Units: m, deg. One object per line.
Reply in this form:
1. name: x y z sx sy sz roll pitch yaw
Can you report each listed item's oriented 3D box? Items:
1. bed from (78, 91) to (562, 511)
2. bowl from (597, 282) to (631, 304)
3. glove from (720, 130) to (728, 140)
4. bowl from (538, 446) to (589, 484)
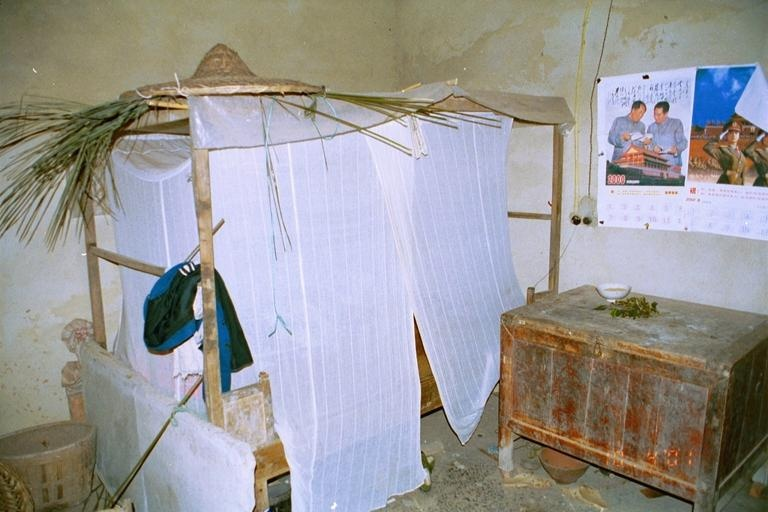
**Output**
1. bed: -0.546 0.418 5.055 1.711 2.228 3.003 6 14 40
2. bowl: 2.027 0.316 5.545 0.187 0.095 0.191 0 2 0
3. glove: 2.937 -1.056 5.386 0.025 0.105 0.024 33 26 30
4. bowl: 1.589 1.863 5.415 0.386 0.194 0.421 1 3 0
